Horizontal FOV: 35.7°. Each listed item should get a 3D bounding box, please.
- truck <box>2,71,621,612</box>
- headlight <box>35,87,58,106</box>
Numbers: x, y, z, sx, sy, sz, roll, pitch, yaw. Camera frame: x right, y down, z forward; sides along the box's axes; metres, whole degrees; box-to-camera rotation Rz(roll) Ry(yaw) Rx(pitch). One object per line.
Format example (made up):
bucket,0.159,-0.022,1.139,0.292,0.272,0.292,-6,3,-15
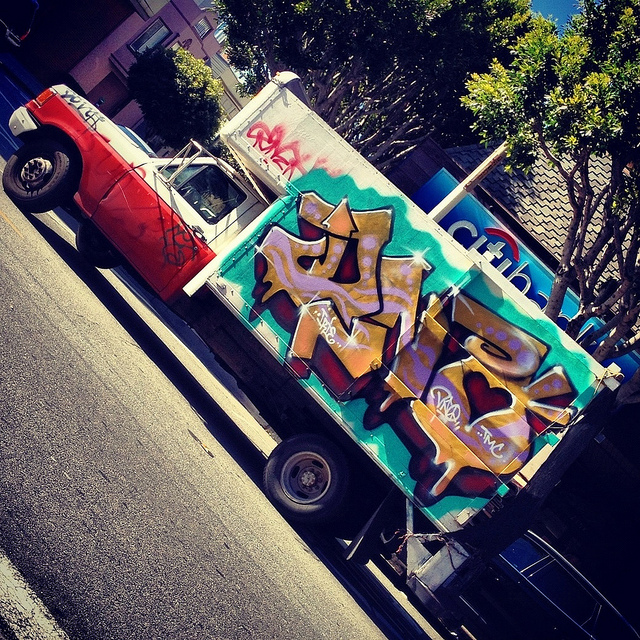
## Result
truck,-0.715,-0.717,18.039,11.722,5.720,2.270,44,1,6
headlight,-5.119,-4.139,18.437,0.239,0.426,0.106,46,-7,26
